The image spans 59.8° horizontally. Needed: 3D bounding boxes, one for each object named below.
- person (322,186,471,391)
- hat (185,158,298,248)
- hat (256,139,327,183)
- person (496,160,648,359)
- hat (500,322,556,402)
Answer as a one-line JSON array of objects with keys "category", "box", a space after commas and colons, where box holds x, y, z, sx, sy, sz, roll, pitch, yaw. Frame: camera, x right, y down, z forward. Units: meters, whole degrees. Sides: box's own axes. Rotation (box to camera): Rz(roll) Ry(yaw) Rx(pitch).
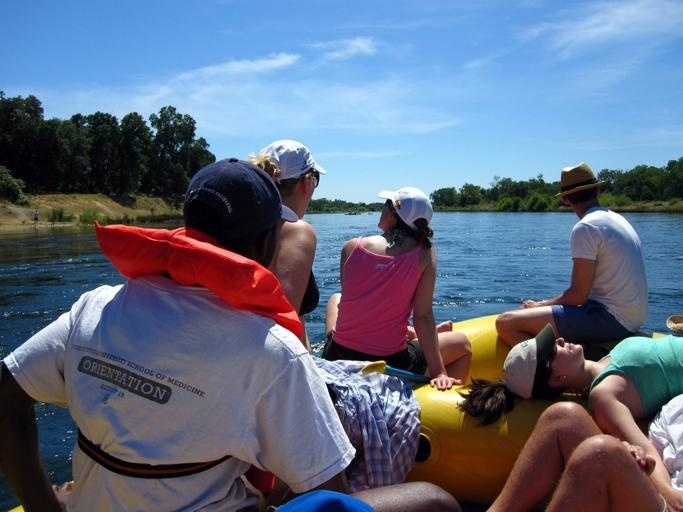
[{"category": "person", "box": [0.405, 0.273, 4.971, 0.965, 1.532, 1.839, 7, -2, 3]}, {"category": "hat", "box": [-0.384, -0.261, 2.598, 0.404, 0.361, 0.617, 10, 15, 22]}, {"category": "hat", "box": [-0.340, -0.635, 3.811, 0.326, 0.237, 0.462, 16, 22, 43]}, {"category": "person", "box": [2.123, 0.095, 5.368, 1.155, 1.782, 1.141, -1, 4, 31]}, {"category": "hat", "box": [1.155, 0.646, 3.637, 0.230, 0.463, 0.294, 16, 8, -15]}]
